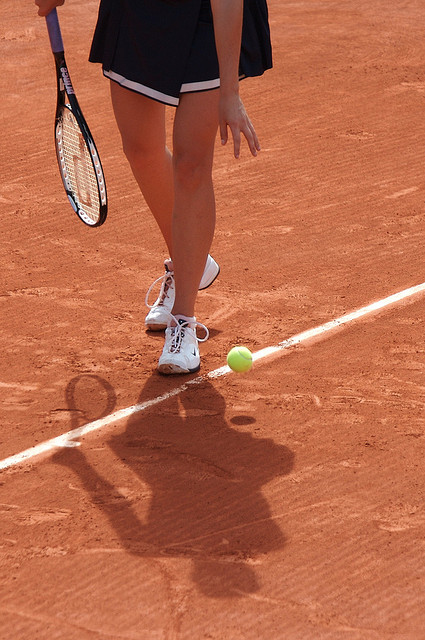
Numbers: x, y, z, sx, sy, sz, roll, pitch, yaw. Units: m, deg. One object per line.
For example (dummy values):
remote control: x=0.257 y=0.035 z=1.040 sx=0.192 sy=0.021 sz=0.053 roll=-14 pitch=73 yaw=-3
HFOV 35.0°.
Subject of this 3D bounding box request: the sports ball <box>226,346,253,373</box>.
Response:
sports ball: x=0.101 y=0.149 z=2.520 sx=0.088 sy=0.084 sz=0.087 roll=7 pitch=5 yaw=-1
